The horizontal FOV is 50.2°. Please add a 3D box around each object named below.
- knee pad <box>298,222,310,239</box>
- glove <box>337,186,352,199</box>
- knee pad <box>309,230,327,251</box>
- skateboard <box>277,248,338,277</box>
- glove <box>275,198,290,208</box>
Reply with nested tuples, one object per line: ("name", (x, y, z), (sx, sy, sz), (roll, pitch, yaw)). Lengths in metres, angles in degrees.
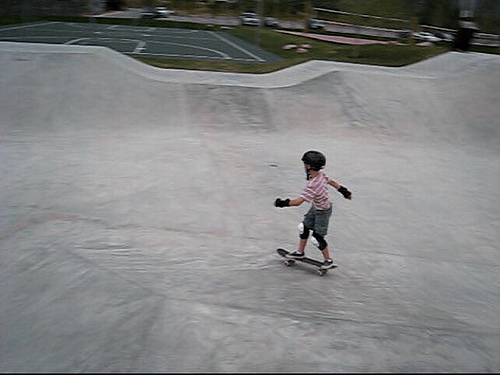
("knee pad", (0.791, 0.625, 7.765), (0.135, 0.266, 0.065), (-2, 23, 9))
("glove", (1.386, 0.069, 7.735), (0.107, 0.256, 0.139), (-58, -6, -10))
("knee pad", (0.963, 0.754, 7.760), (0.170, 0.294, 0.257), (-12, 20, -16))
("skateboard", (0.827, 1.089, 7.868), (1.230, 0.149, 0.253), (10, 34, 11))
("glove", (0.451, 0.224, 7.417), (0.198, 0.065, 0.101), (9, 43, 28))
